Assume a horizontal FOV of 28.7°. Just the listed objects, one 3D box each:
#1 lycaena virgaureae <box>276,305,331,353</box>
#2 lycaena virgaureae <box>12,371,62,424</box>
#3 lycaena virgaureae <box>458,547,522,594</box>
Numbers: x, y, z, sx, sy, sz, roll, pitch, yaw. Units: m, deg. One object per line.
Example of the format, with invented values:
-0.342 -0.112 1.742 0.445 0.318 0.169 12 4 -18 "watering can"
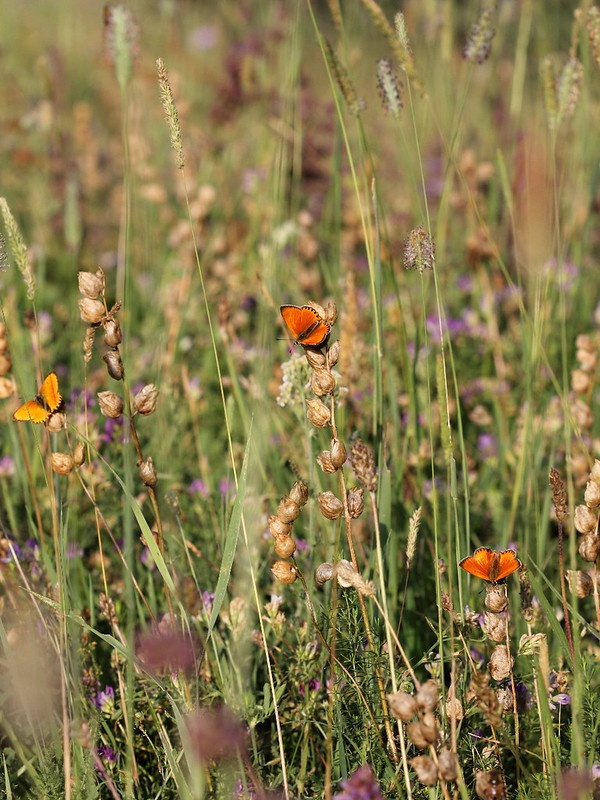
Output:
0.010 -0.123 1.981 0.094 0.077 0.032 -3 15 32 "lycaena virgaureae"
-0.442 0.007 2.038 0.108 0.063 0.023 -47 53 0 "lycaena virgaureae"
0.308 0.282 1.975 0.082 0.070 0.031 3 1 -11 "lycaena virgaureae"
